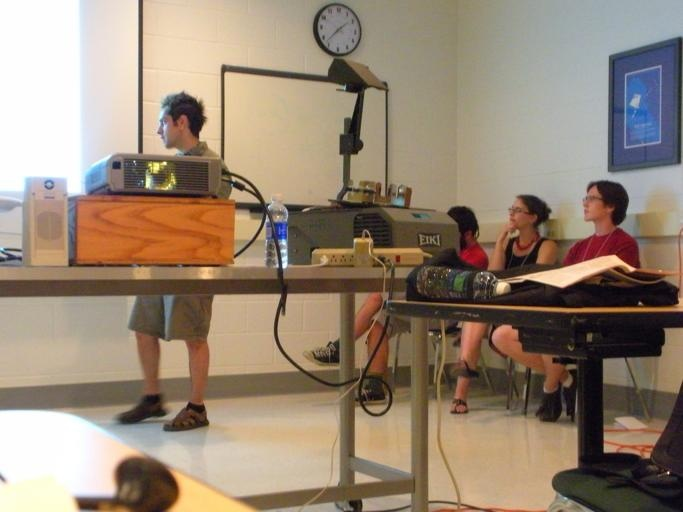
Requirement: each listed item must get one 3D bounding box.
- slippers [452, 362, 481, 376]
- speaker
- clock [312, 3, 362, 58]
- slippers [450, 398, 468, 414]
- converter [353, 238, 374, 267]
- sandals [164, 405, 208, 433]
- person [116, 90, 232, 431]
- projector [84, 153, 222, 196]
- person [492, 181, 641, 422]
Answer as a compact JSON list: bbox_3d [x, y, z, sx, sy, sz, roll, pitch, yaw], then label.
[{"bbox_3d":[0.689,0.636,3.543,0.155,0.089,0.120,9,0,21],"label":"slippers"},{"bbox_3d":[-0.657,-0.078,1.412,0.088,0.193,0.053,-3,8,-21],"label":"speaker"},{"bbox_3d":[-0.046,-1.561,4.380,0.378,0.395,0.058,-8,1,-28],"label":"clock"},{"bbox_3d":[0.666,0.847,3.592,0.077,0.059,0.157,2,1,10],"label":"slippers"},{"bbox_3d":[0.061,-0.010,1.735,0.055,0.072,0.034,0,7,-1],"label":"converter"},{"bbox_3d":[-0.764,0.804,3.143,0.208,0.103,0.096,7,-9,-38],"label":"sandals"},{"bbox_3d":[-0.666,0.078,3.174,0.556,2.026,0.613,2,2,-43],"label":"person"},{"bbox_3d":[-0.456,-0.175,1.540,0.273,0.105,0.207,1,2,-35],"label":"projector"},{"bbox_3d":[1.315,0.089,3.459,0.600,1.692,0.810,3,1,-17],"label":"person"}]
